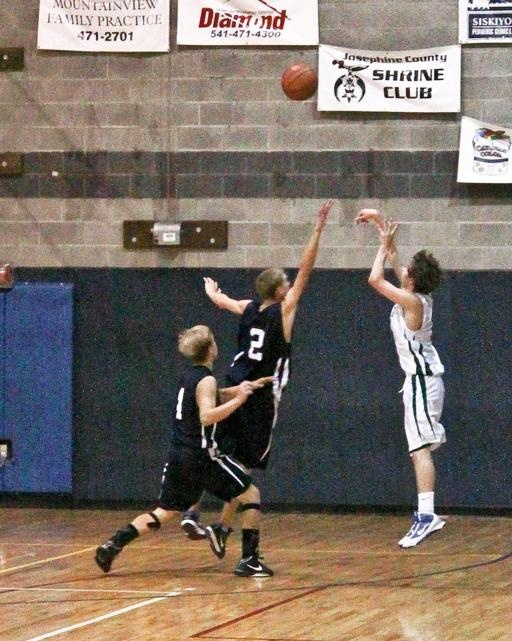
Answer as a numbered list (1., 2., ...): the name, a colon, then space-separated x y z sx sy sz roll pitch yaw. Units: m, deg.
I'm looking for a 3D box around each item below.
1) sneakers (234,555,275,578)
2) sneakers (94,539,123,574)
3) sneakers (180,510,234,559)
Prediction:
1. sneakers: -0.019 1.457 6.098 0.269 0.097 0.168 0 87 -7
2. sneakers: -0.858 1.349 5.912 0.083 0.177 0.318 -2 11 9
3. sneakers: -0.273 1.281 6.185 0.207 0.455 0.153 -32 56 3
